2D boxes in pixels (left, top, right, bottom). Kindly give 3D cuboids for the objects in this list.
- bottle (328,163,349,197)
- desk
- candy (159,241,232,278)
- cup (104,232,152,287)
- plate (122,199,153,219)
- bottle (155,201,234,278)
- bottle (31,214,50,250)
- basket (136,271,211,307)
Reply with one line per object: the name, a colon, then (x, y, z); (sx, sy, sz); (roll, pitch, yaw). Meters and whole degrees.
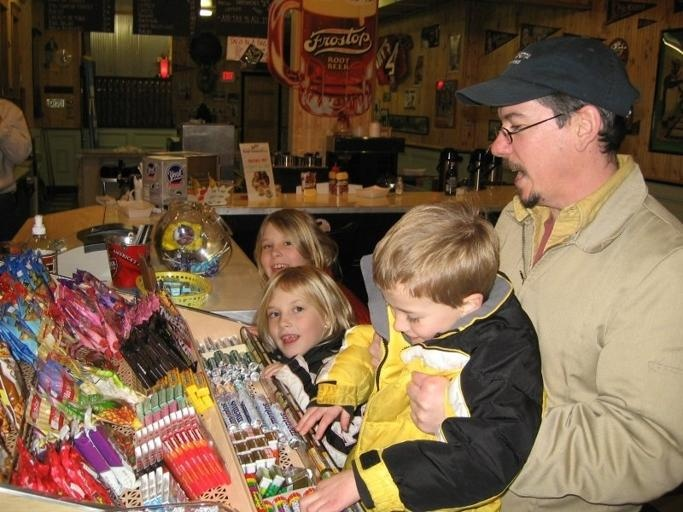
bottle: (-0.028, -0.725, 5.178); (0.185, 0.280, 0.335); (-3, 11, 0)
desk: (-3.142, -1.118, 7.487); (0.858, 0.784, 1.771); (-8, 12, -25)
candy: (-0.674, 0.024, 2.588); (0.201, 0.133, 0.195); (-4, 8, -11)
cup: (-0.875, 0.027, 2.252); (0.155, 0.192, 0.322); (-6, 12, -19)
plate: (-1.411, -0.332, 3.780); (0.205, 0.113, 0.269); (-6, 11, -18)
bottle: (-0.695, -0.067, 2.610); (0.305, 0.374, 0.303); (-2, 3, -11)
bottle: (-1.168, -0.094, 2.118); (0.062, 0.139, 0.206); (-9, 13, -29)
basket: (-0.681, 0.133, 2.277); (0.259, 0.160, 0.355); (-4, 11, -8)
